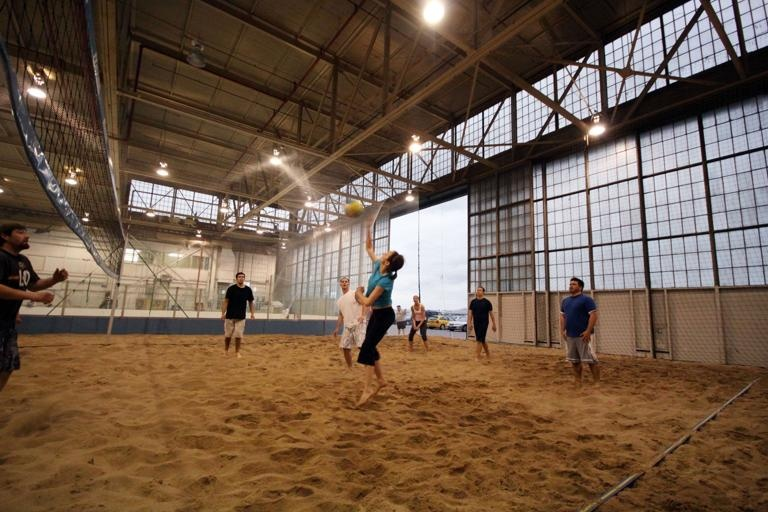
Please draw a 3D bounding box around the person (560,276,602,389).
[{"bbox_3d":[3.518,1.361,7.730,0.728,1.933,0.796,5,12,21],"label":"person"}]

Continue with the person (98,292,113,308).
[{"bbox_3d":[-8.988,1.366,13.975,0.394,0.465,1.635,-6,12,-33],"label":"person"}]

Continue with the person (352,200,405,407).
[{"bbox_3d":[-0.134,0.856,6.523,0.662,2.694,0.801,7,13,29],"label":"person"}]
